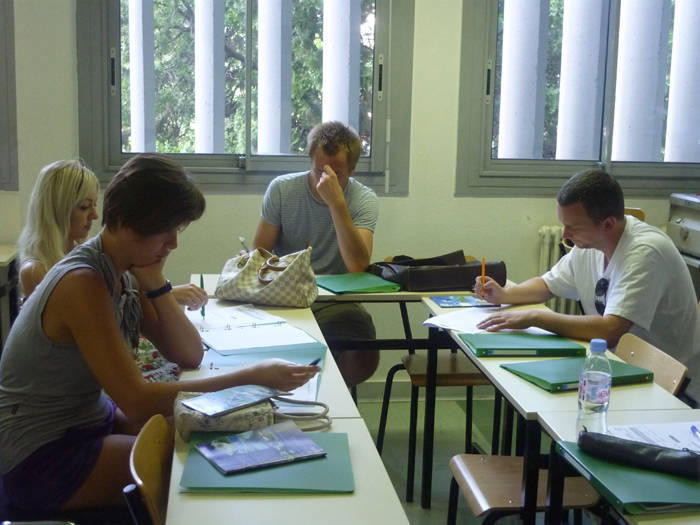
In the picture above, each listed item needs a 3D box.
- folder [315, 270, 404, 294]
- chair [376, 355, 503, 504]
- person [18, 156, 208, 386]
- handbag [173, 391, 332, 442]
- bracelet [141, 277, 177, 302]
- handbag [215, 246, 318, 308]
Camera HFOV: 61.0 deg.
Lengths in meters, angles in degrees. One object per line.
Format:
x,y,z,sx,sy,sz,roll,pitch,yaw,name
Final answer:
0.032,0.101,2.817,0.383,0.059,0.309,-4,10,-15,folder
0.365,0.878,2.950,0.557,0.713,0.745,1,11,-1,chair
-1.016,-0.160,3.041,0.857,1.519,0.645,-7,11,-11,person
-0.253,0.390,1.533,0.271,0.073,0.162,0,1,-12,handbag
-0.608,0.091,1.888,0.078,0.053,0.085,-16,0,-7,bracelet
-0.356,0.071,2.557,0.386,0.230,0.245,1,9,7,handbag
